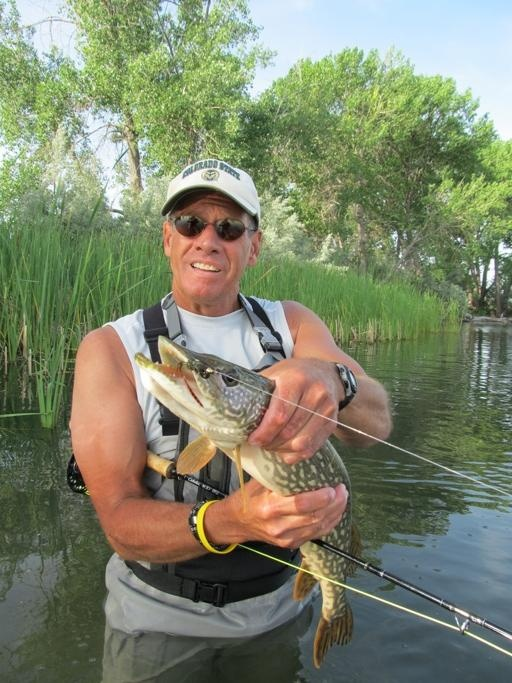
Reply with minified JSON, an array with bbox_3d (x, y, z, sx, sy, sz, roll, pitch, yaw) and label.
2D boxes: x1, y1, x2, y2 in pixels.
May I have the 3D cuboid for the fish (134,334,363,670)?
[{"bbox_3d":[0.025,0.524,1.609,0.265,1.097,0.783,12,12,43],"label":"fish"}]
